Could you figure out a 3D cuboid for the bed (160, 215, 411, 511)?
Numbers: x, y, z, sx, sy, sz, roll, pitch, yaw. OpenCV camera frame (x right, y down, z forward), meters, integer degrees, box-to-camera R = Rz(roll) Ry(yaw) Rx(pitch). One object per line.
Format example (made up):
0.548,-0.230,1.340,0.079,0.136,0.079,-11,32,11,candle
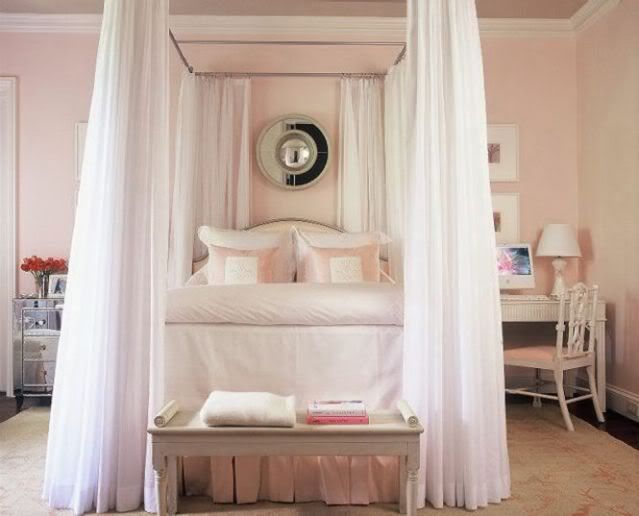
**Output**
-0.465,0.773,3.471,1.675,1.052,1.285,4,-20,-29,bed

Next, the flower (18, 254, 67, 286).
-2.215,0.097,4.488,0.264,0.179,0.260,1,0,-42,flower

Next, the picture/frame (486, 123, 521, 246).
1.564,-0.634,4.769,0.292,0.981,0.136,2,6,11,picture/frame

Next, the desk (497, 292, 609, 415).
1.846,0.523,4.721,0.761,1.018,1.333,-1,-3,7,desk

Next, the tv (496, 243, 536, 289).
1.624,0.062,4.648,0.448,0.413,0.115,-2,2,0,tv

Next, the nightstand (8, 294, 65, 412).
-2.132,0.712,4.265,0.363,0.809,0.323,-2,7,-20,nightstand

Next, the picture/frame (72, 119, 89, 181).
-1.964,-0.874,4.656,0.141,0.492,0.081,5,7,34,picture/frame

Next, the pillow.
-0.177,-0.055,4.045,0.714,0.214,0.643,1,23,-3,pillow
